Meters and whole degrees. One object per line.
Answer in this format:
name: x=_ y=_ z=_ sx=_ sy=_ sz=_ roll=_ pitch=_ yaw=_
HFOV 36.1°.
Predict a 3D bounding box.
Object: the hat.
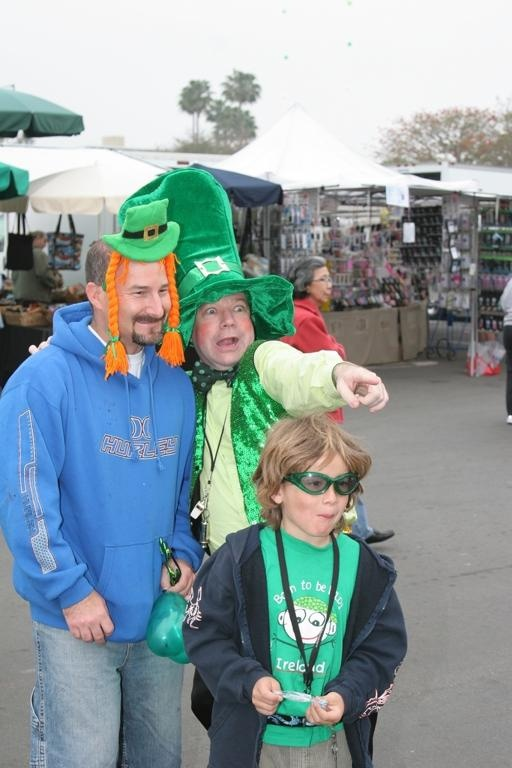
hat: x=-0.162 y=-0.386 z=2.631 sx=0.487 sy=0.433 sz=0.654 roll=-11 pitch=-8 yaw=-19
